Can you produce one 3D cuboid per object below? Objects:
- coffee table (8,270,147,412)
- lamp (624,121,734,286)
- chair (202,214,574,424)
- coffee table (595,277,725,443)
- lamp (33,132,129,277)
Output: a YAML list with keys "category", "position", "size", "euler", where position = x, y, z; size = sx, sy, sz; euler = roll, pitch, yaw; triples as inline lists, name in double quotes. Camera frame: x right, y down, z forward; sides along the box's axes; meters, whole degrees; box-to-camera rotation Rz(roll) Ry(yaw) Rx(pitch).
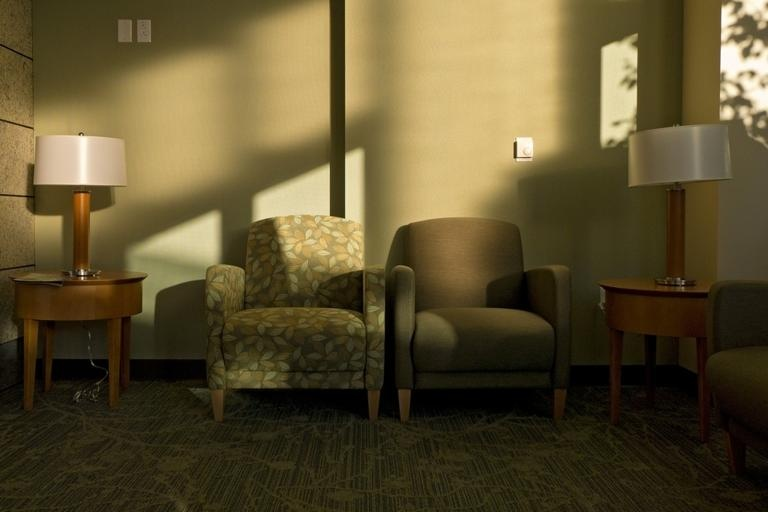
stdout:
- category: "coffee table"
  position: [-1.929, 0.494, 4.157]
  size: [0.686, 0.723, 0.675]
  euler: [6, -6, -24]
- category: "lamp"
  position: [1.755, -0.309, 3.752]
  size: [0.507, 0.941, 0.282]
  euler: [-2, 3, -7]
- category: "chair"
  position: [0.035, 0.348, 4.074]
  size: [2.197, 1.271, 0.700]
  euler: [-1, 3, 0]
- category: "coffee table"
  position: [1.687, 0.631, 3.905]
  size: [0.800, 0.846, 0.759]
  euler: [2, -5, 4]
- category: "lamp"
  position: [-2.015, -0.303, 4.253]
  size: [0.817, 0.906, 0.825]
  euler: [-1, -5, -24]
